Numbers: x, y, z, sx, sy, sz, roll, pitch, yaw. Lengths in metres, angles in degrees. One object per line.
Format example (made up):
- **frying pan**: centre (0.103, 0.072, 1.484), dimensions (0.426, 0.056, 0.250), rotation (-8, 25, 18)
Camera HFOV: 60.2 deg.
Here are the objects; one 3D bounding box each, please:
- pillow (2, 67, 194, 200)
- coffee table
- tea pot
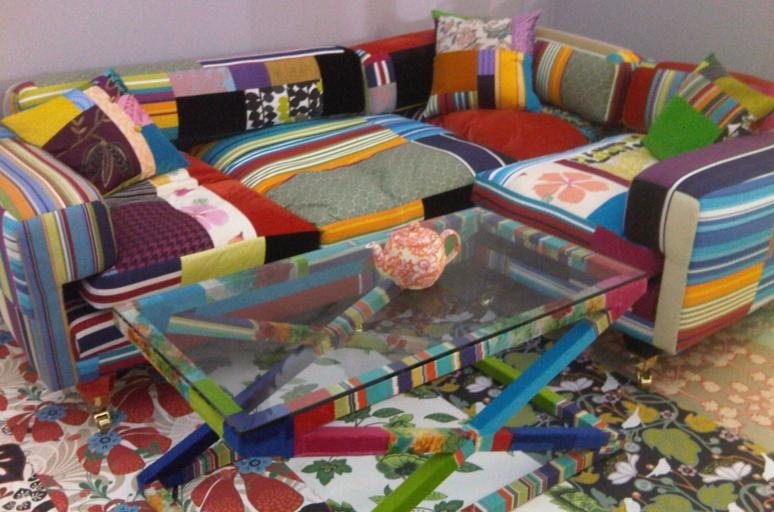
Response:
- **pillow**: centre (-1.320, -0.537, 3.061), dimensions (0.476, 0.387, 0.489), rotation (26, 48, 28)
- **coffee table**: centre (-0.025, 0.210, 2.330), dimensions (1.600, 0.203, 0.705), rotation (-17, 41, -18)
- **tea pot**: centre (0.117, 0.015, 2.457), dimensions (0.355, 0.212, 0.205), rotation (-14, 43, -19)
